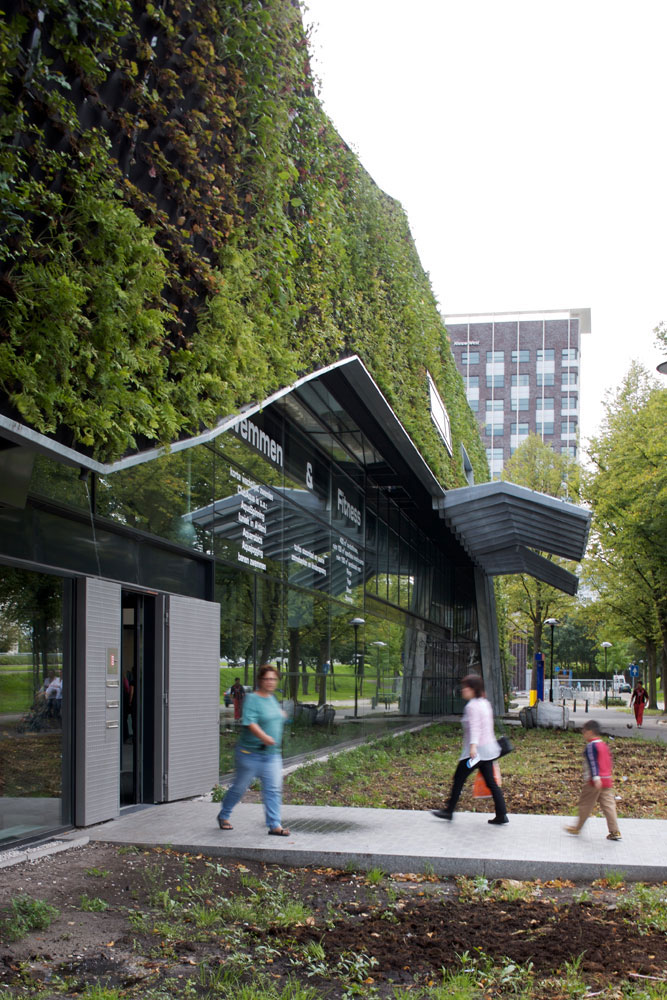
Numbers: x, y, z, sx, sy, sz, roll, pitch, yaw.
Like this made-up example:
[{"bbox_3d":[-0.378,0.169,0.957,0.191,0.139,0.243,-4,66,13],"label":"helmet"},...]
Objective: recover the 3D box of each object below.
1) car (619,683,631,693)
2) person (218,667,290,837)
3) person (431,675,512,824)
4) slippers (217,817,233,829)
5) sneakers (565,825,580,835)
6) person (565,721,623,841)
[{"bbox_3d":[34.273,22.303,92.470,1.342,0.992,2.131,1,-4,19],"label":"car"},{"bbox_3d":[-0.709,2.295,7.177,0.636,1.525,0.966,2,-7,-8],"label":"person"},{"bbox_3d":[1.440,2.576,8.143,0.689,1.526,1.150,0,-7,9],"label":"person"},{"bbox_3d":[-0.992,2.952,7.167,0.103,0.125,0.294,1,-18,-7],"label":"slippers"},{"bbox_3d":[2.175,3.006,7.148,0.074,0.091,0.137,-4,-20,26],"label":"sneakers"},{"bbox_3d":[2.551,2.734,7.725,0.466,1.157,1.730,-1,-8,19],"label":"person"}]
